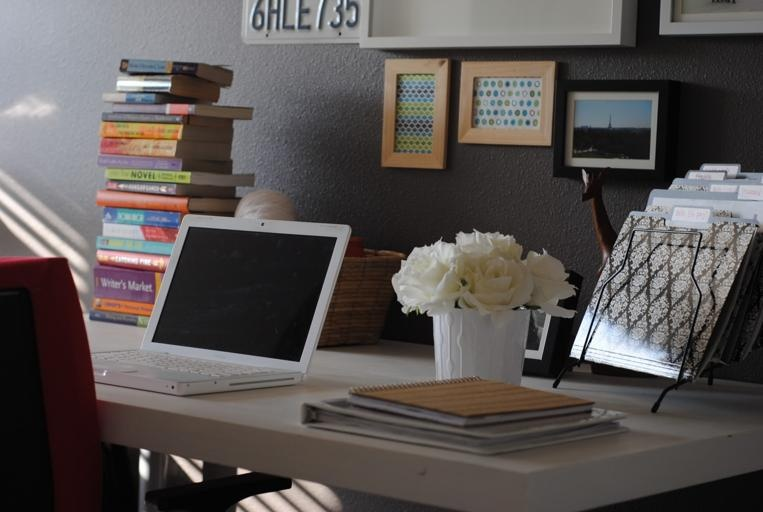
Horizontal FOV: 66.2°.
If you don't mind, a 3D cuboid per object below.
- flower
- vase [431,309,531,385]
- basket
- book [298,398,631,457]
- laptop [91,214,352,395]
[{"bbox_3d":[0.183,0.035,1.036,0.322,0.153,0.115,2,3,0],"label":"flower"},{"bbox_3d":[0.167,0.153,1.027,0.159,0.112,0.129,1,-4,-1],"label":"vase"},{"bbox_3d":[-0.054,0.114,1.479,0.227,0.175,0.239,5,-10,-23],"label":"basket"},{"bbox_3d":[0.127,0.235,0.790,0.474,0.037,0.131,2,3,-4],"label":"book"},{"bbox_3d":[-0.305,0.084,1.167,0.433,0.250,0.367,1,-2,41],"label":"laptop"}]
